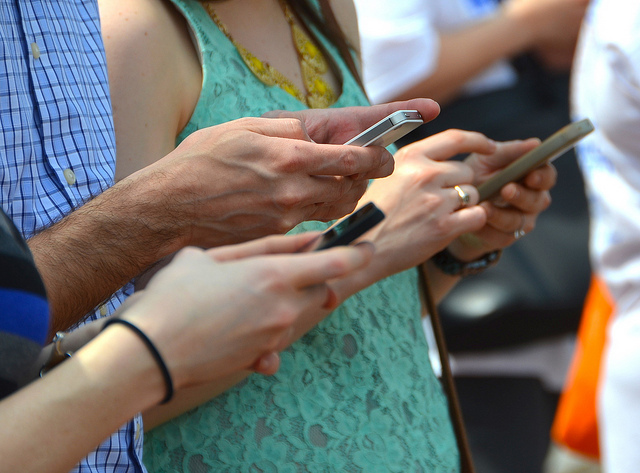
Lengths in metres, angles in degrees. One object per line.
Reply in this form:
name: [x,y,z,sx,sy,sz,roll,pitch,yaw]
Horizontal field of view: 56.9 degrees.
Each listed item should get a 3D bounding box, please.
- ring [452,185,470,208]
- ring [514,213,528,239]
ring: [0.324,-0.087,1.365,0.009,0.039,0.037,-32,-20,28]
ring: [0.509,-0.022,1.492,0.017,0.055,0.037,20,29,-7]
